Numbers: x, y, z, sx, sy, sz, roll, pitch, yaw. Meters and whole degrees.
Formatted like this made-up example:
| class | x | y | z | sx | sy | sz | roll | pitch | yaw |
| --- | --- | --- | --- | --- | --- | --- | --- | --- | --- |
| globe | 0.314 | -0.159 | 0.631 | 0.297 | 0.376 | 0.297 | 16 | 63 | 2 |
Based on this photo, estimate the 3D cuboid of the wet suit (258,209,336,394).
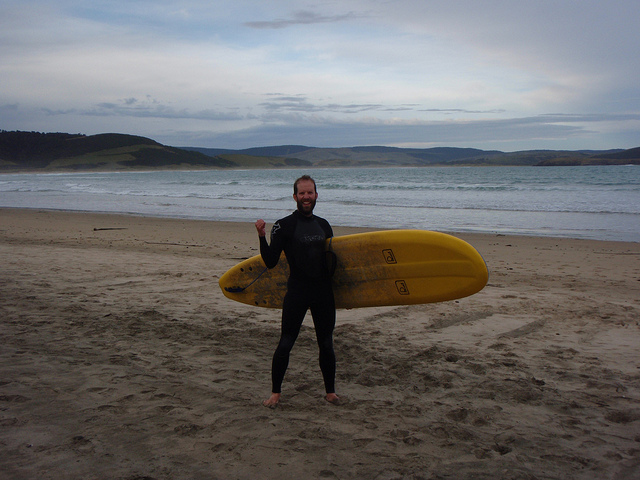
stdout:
| class | x | y | z | sx | sy | sz | roll | pitch | yaw |
| --- | --- | --- | --- | --- | --- | --- | --- | --- | --- |
| wet suit | -0.179 | 0.548 | 4.422 | 0.648 | 1.622 | 0.442 | 0 | 11 | -3 |

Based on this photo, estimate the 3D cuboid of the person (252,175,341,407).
| class | x | y | z | sx | sy | sz | roll | pitch | yaw |
| --- | --- | --- | --- | --- | --- | --- | --- | --- | --- |
| person | -0.184 | 0.402 | 4.599 | 0.744 | 1.963 | 0.950 | 0 | 10 | -2 |
